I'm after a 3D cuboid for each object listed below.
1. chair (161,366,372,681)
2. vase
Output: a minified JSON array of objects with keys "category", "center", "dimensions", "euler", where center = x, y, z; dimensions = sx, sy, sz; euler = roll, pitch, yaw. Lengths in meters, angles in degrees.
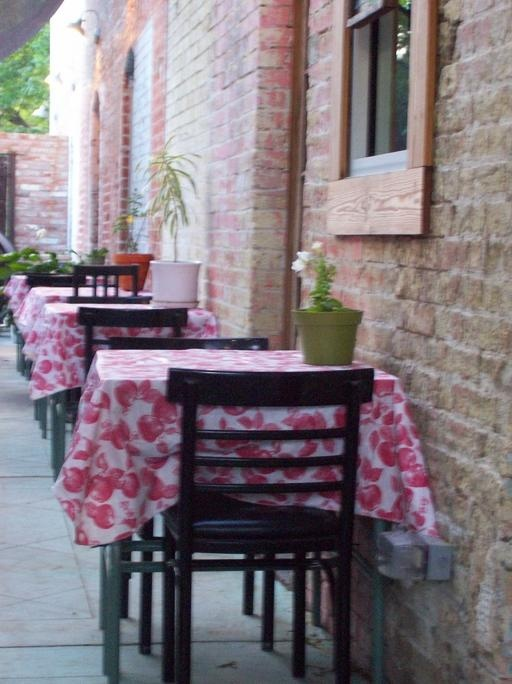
[{"category":"chair","center":[-0.005,0.406,1.514],"dimensions":[0.381,0.751,0.491],"euler":[5,3,-3]},{"category":"vase","center":[0.152,-0.008,1.671],"dimensions":[0.144,0.095,0.135],"euler":[1,-3,-35]}]
